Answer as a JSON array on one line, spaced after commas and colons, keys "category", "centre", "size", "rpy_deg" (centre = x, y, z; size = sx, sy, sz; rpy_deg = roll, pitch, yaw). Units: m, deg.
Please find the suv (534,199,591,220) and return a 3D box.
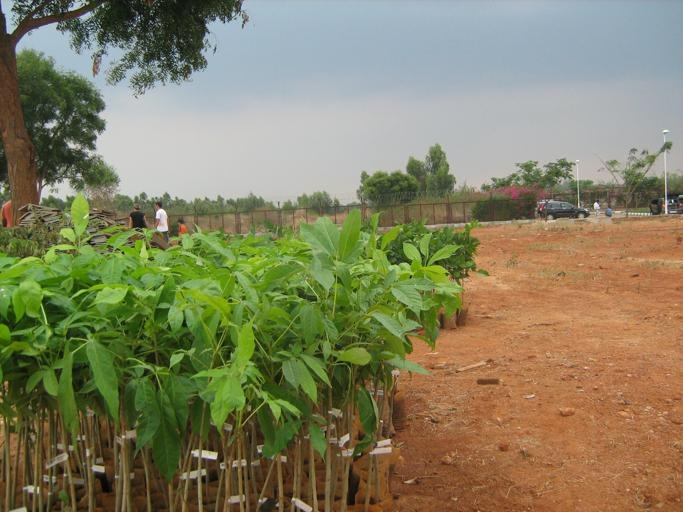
[{"category": "suv", "centre": [15.607, -3.198, 38.454], "size": [3.134, 1.372, 1.579], "rpy_deg": [-1, 3, 7]}]
